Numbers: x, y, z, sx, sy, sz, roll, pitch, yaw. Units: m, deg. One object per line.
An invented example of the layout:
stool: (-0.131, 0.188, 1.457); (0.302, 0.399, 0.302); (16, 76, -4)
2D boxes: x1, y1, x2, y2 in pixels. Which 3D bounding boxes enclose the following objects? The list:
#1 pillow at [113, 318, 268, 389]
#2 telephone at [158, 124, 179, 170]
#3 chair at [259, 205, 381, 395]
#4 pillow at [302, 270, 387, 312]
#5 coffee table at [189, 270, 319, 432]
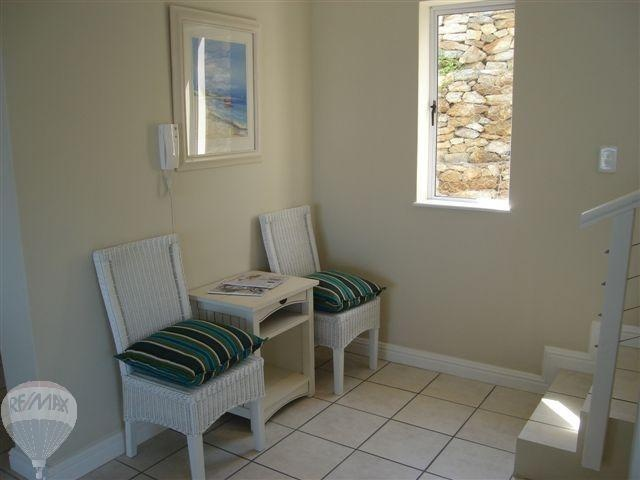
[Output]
pillow: (-0.687, 0.579, 2.551); (0.583, 0.203, 0.489); (5, 13, 24)
telephone: (-0.857, -0.529, 2.732); (0.137, 0.263, 0.079); (-11, 17, -34)
chair: (0.042, 0.370, 3.421); (0.662, 1.148, 0.753); (-11, 16, -41)
pillow: (0.098, 0.337, 3.277); (0.330, 0.107, 0.320); (10, 16, 35)
coffee table: (-0.417, 0.669, 3.043); (0.539, 0.783, 0.632); (7, 14, 32)
